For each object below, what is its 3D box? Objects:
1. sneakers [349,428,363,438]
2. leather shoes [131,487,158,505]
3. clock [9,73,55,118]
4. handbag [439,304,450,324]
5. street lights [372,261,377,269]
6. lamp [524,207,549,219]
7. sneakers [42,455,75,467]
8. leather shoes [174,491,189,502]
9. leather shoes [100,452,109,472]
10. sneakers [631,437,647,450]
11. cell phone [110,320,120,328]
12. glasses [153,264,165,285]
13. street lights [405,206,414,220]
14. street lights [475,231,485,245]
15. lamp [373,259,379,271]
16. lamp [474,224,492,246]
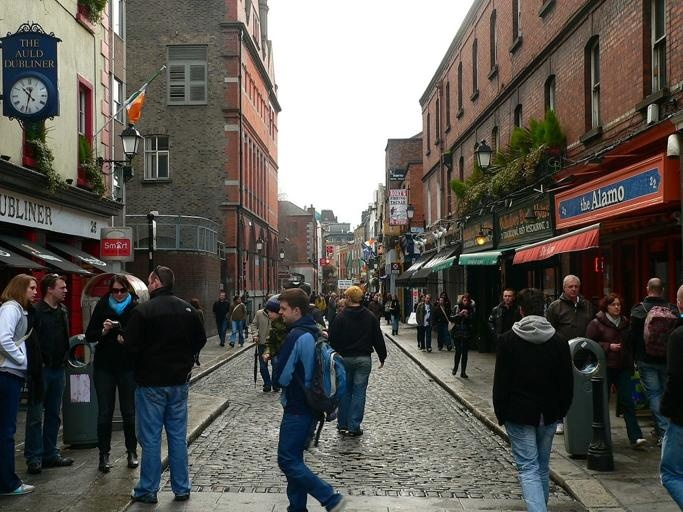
[{"bbox_3d":[0.223,2.874,14.498,0.231,0.112,0.089,-2,3,-12],"label":"sneakers"},{"bbox_3d":[-2.477,3.041,11.318,0.369,0.204,0.143,1,-1,7],"label":"leather shoes"},{"bbox_3d":[-6.103,-3.125,17.474,0.785,1.030,0.147,0,-3,-5],"label":"clock"},{"bbox_3d":[2.988,1.694,26.300,0.144,0.518,0.363,-12,-16,17],"label":"handbag"},{"bbox_3d":[2.589,0.770,70.980,0.286,0.594,0.571,-1,1,-6],"label":"street lights"},{"bbox_3d":[4.587,-1.013,21.026,0.501,0.318,0.339,0,-1,18],"label":"lamp"},{"bbox_3d":[-3.964,2.876,12.520,0.419,0.202,0.158,-2,2,-12],"label":"sneakers"},{"bbox_3d":[-2.036,3.065,11.367,0.195,0.106,0.130,2,-8,-14],"label":"leather shoes"},{"bbox_3d":[-3.257,2.827,12.238,0.160,0.260,0.276,2,-8,-15],"label":"leather shoes"},{"bbox_3d":[4.385,2.780,13.214,0.097,0.118,0.262,0,-19,-14],"label":"sneakers"},{"bbox_3d":[-3.118,0.946,12.327,0.097,0.076,0.069,7,-9,-35],"label":"cell phone"},{"bbox_3d":[-2.419,0.237,11.718,0.177,0.275,0.142,-9,4,-4],"label":"glasses"},{"bbox_3d":[2.877,-1.806,37.654,0.480,0.749,0.517,-1,3,9],"label":"street lights"},{"bbox_3d":[4.089,-0.507,26.185,0.305,0.363,0.327,-1,-5,-1],"label":"street lights"},{"bbox_3d":[2.642,0.730,69.335,0.520,1.101,0.557,-1,2,0],"label":"lamp"},{"bbox_3d":[4.197,-0.591,26.458,0.541,0.774,0.395,0,0,-12],"label":"lamp"}]
